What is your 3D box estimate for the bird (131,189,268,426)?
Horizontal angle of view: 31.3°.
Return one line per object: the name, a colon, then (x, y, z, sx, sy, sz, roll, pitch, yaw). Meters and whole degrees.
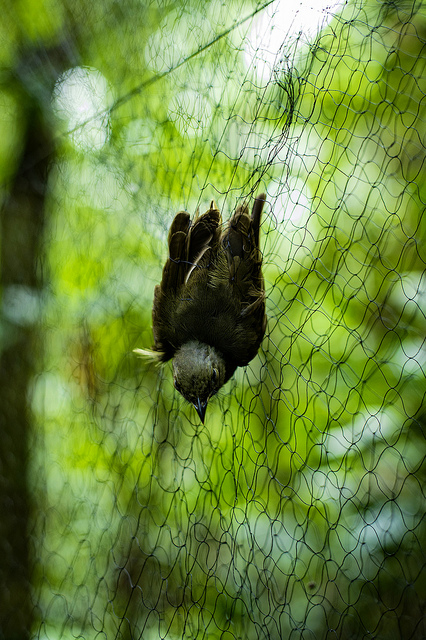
bird: (-0.016, -0.084, 3.249, 0.491, 1.057, 0.402, 14, 36, 19)
